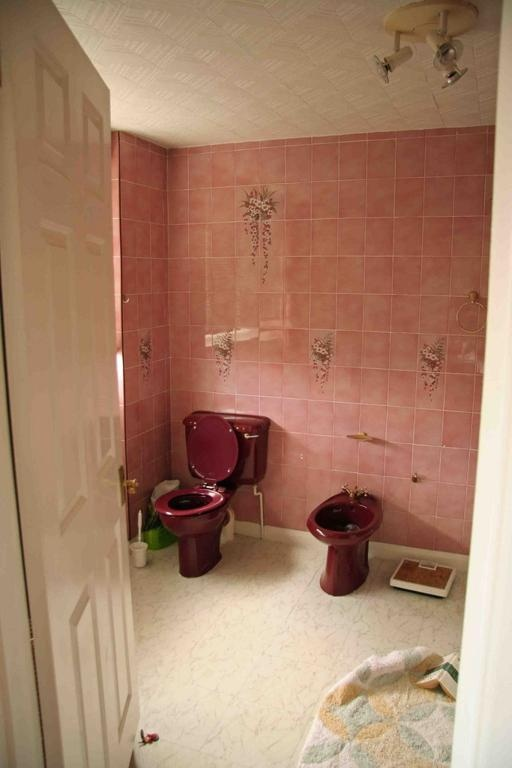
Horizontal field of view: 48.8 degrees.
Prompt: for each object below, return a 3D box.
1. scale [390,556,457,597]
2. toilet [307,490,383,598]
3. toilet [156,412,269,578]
[{"bbox_3d":[0.869,1.016,2.954,0.303,0.071,0.256,4,10,23],"label":"scale"},{"bbox_3d":[0.451,0.836,2.966,0.316,0.413,0.466,10,18,32],"label":"toilet"},{"bbox_3d":[-0.235,0.606,3.183,0.502,0.802,0.729,2,9,16],"label":"toilet"}]
